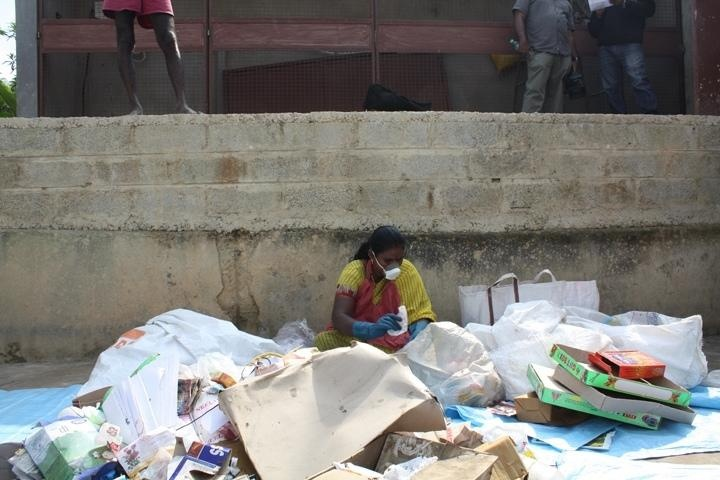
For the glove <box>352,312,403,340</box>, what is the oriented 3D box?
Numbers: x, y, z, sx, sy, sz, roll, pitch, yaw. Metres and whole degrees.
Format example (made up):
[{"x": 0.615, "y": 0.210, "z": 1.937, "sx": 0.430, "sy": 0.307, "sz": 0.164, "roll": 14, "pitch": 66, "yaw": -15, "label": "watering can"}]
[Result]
[{"x": 0.145, "y": 0.777, "z": 8.760, "sx": 0.342, "sy": 0.242, "sz": 0.139, "roll": -18, "pitch": 32, "yaw": 10, "label": "glove"}]

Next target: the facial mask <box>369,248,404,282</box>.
[{"x": 0.239, "y": 0.230, "z": 8.923, "sx": 0.246, "sy": 0.283, "sz": 0.288, "roll": -6, "pitch": 38, "yaw": -43, "label": "facial mask"}]

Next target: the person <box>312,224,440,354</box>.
[{"x": 0.158, "y": 0.405, "z": 9.224, "sx": 0.900, "sy": 1.255, "sz": 1.090, "roll": 2, "pitch": 13, "yaw": -18, "label": "person"}]

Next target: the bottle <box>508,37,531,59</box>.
[{"x": 1.700, "y": -2.000, "z": 10.453, "sx": 0.107, "sy": 0.155, "sz": 0.261, "roll": -14, "pitch": 27, "yaw": -10, "label": "bottle"}]

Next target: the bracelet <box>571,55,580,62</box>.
[{"x": 2.324, "y": -1.940, "z": 10.630, "sx": 0.082, "sy": 0.034, "sz": 0.089, "roll": -4, "pitch": 18, "yaw": -9, "label": "bracelet"}]

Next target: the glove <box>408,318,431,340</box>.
[{"x": 0.538, "y": 0.806, "z": 8.989, "sx": 0.172, "sy": 0.181, "sz": 0.068, "roll": 38, "pitch": -8, "yaw": -16, "label": "glove"}]
